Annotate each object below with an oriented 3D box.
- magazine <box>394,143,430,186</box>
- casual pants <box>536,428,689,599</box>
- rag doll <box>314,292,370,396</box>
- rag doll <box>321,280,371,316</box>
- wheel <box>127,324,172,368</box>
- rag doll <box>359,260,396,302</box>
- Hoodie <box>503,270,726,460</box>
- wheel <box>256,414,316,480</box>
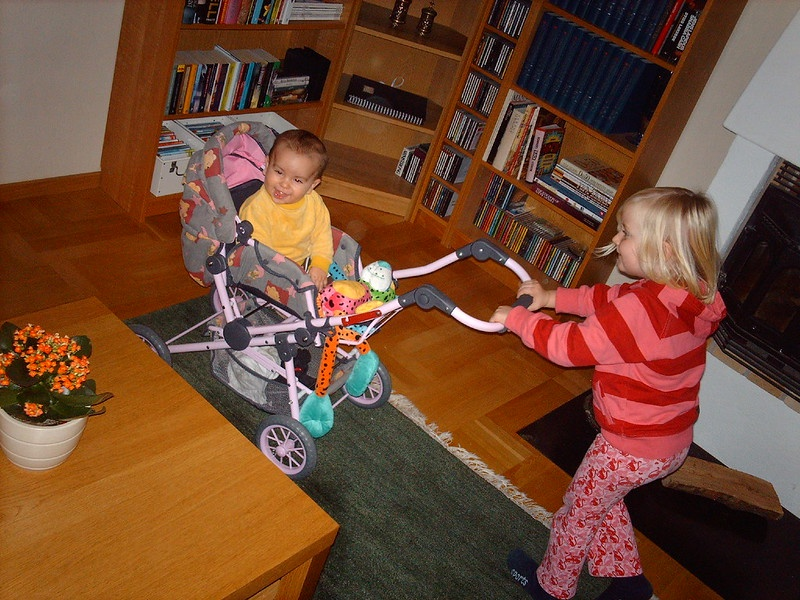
[{"bbox_3d":[0.079,-1.010,4.094,0.217,0.097,0.311,23,22,-1],"label":"magazine"},{"bbox_3d":[0.893,0.919,2.321,0.400,0.742,0.491,-29,42,-33],"label":"casual pants"},{"bbox_3d":[-0.231,0.163,2.219,0.222,0.421,0.095,-20,57,-22],"label":"rag doll"},{"bbox_3d":[-0.225,-0.012,2.204,0.156,0.132,0.100,-14,20,-1],"label":"rag doll"},{"bbox_3d":[-1.033,0.165,2.378,0.190,0.203,0.065,11,41,30],"label":"wheel"},{"bbox_3d":[-0.079,-0.079,2.231,0.112,0.169,0.169,4,45,1],"label":"rag doll"},{"bbox_3d":[0.758,0.161,2.131,0.703,0.652,0.628,21,37,31],"label":"Hoodie"},{"bbox_3d":[-0.440,0.567,2.161,0.235,0.257,0.072,13,18,15],"label":"wheel"}]
